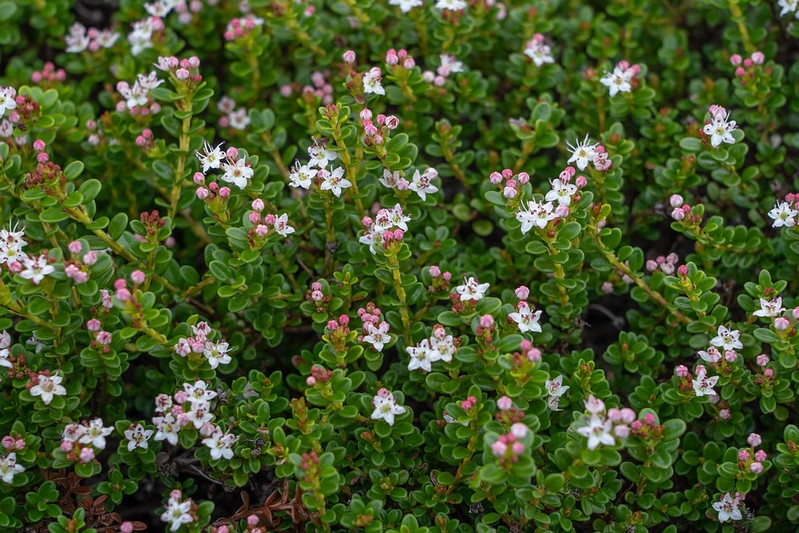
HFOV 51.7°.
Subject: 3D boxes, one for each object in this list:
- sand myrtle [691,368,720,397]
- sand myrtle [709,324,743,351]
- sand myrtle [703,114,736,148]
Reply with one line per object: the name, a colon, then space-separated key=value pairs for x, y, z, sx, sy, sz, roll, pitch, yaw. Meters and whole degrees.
sand myrtle: x=2.012 y=0.751 z=5.451 sx=0.149 sy=0.141 sz=0.189 roll=-1 pitch=74 yaw=-4
sand myrtle: x=2.164 y=0.482 z=5.505 sx=0.193 sy=0.132 sz=0.177 roll=-15 pitch=75 yaw=-8
sand myrtle: x=2.225 y=-0.938 z=5.716 sx=0.241 sy=0.174 sz=0.187 roll=-3 pitch=73 yaw=-5
